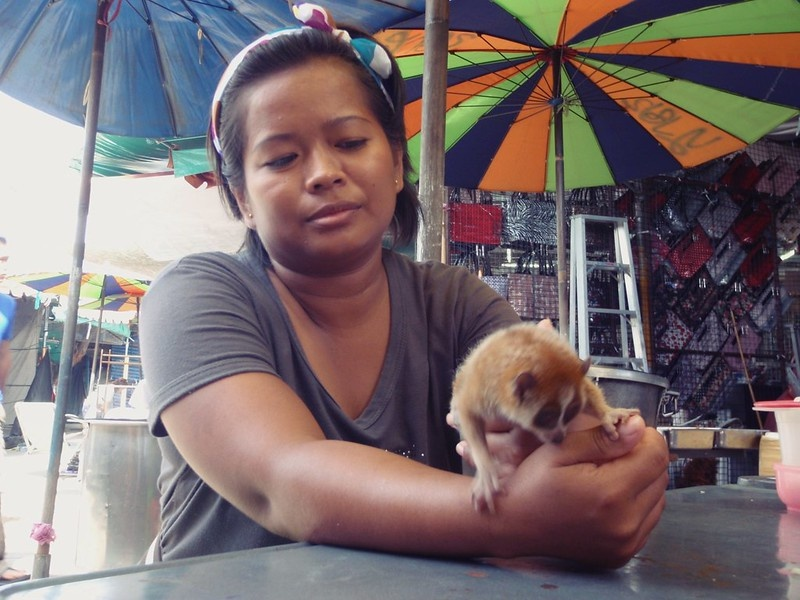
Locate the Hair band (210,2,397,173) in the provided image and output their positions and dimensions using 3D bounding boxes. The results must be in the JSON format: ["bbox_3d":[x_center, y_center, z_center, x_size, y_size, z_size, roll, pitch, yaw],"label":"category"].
[{"bbox_3d":[-0.515,-1.026,2.911,0.764,0.368,0.700,-33,26,-6],"label":"Hair band"}]

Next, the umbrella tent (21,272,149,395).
[{"bbox_3d":[-7.425,0.752,14.661,2.141,3.276,2.332,0,3,-45],"label":"umbrella tent"}]
